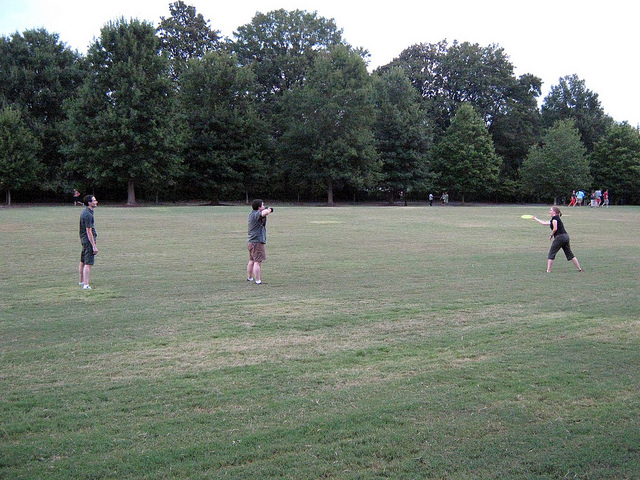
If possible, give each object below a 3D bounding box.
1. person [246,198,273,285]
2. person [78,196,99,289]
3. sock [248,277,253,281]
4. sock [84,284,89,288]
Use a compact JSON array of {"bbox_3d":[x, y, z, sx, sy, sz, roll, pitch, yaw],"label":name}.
[{"bbox_3d":[-1.489,-0.016,12.260,0.573,1.921,1.331,-1,11,-9],"label":"person"},{"bbox_3d":[-5.252,-0.008,11.682,0.458,2.012,1.576,-4,11,-23],"label":"person"},{"bbox_3d":[-1.651,0.902,12.168,0.133,0.138,0.080,-4,-3,43],"label":"sock"},{"bbox_3d":[-5.070,0.989,11.206,0.059,0.078,0.079,2,-8,-3],"label":"sock"}]
